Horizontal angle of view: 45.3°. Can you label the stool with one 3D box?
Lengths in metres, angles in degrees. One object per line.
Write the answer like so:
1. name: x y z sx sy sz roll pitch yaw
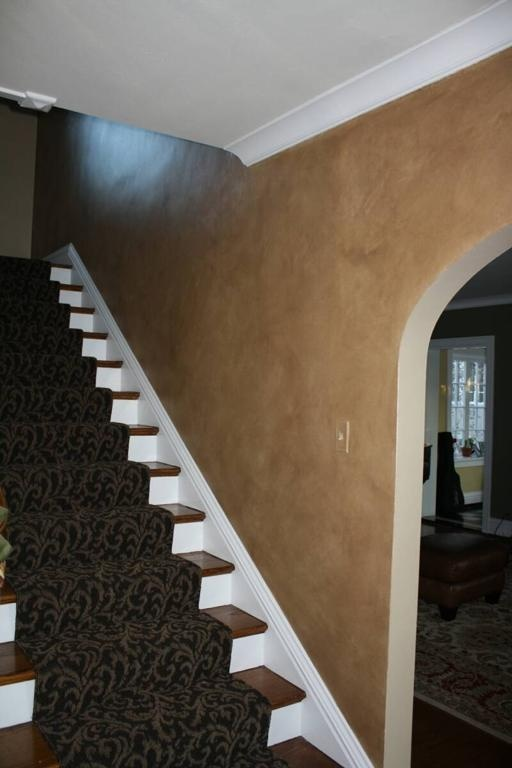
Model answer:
1. stool: 1.186 1.062 3.515 0.460 0.418 0.603 2 3 34
